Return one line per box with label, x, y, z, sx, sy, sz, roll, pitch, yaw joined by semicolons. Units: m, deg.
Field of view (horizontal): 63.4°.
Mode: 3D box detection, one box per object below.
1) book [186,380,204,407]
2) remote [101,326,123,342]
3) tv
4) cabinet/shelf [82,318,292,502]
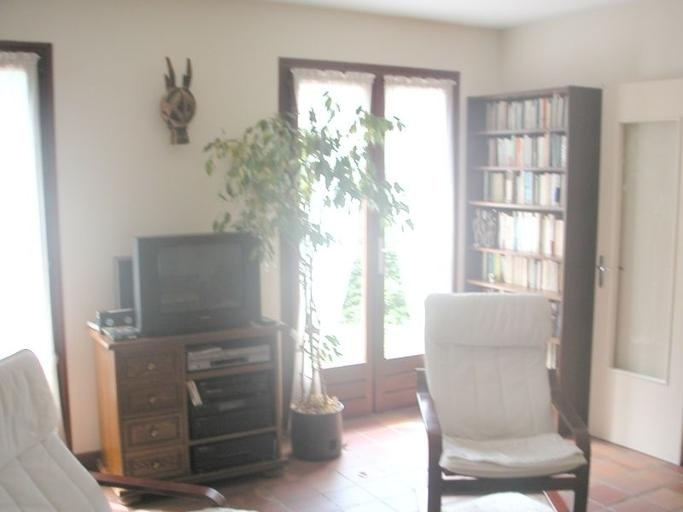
book;-0.980;0.918;3.678;0.045;0.154;0.116;-11;1;29
remote;-1.451;0.498;3.526;0.080;0.027;0.114;-1;11;-39
tv;-0.999;0.132;3.871;0.791;0.675;0.405;-3;18;-24
cabinet/shelf;-1.034;1.074;3.948;1.090;1.042;0.653;-2;1;-25
